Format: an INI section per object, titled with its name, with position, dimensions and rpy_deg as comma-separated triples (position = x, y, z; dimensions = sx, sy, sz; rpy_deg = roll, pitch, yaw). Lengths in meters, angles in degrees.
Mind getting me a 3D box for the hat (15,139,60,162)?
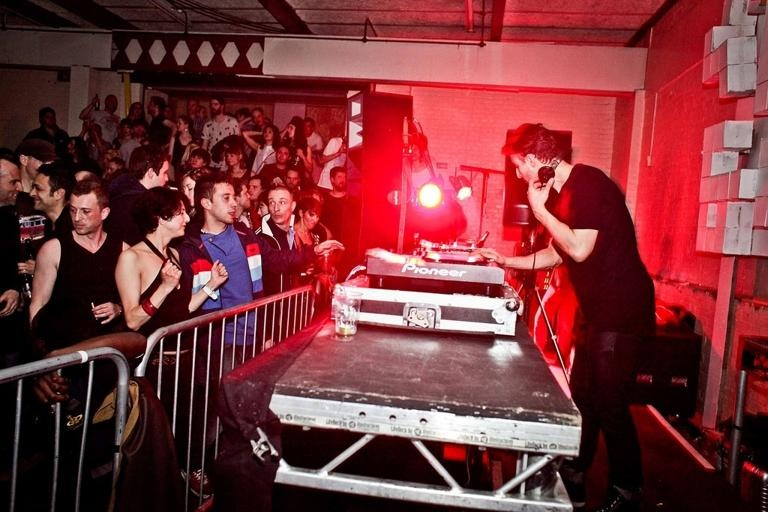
[hat]
position = -3.309, -1.006, 5.013
dimensions = 0.344, 0.177, 0.244
rpy_deg = -4, 11, -35
